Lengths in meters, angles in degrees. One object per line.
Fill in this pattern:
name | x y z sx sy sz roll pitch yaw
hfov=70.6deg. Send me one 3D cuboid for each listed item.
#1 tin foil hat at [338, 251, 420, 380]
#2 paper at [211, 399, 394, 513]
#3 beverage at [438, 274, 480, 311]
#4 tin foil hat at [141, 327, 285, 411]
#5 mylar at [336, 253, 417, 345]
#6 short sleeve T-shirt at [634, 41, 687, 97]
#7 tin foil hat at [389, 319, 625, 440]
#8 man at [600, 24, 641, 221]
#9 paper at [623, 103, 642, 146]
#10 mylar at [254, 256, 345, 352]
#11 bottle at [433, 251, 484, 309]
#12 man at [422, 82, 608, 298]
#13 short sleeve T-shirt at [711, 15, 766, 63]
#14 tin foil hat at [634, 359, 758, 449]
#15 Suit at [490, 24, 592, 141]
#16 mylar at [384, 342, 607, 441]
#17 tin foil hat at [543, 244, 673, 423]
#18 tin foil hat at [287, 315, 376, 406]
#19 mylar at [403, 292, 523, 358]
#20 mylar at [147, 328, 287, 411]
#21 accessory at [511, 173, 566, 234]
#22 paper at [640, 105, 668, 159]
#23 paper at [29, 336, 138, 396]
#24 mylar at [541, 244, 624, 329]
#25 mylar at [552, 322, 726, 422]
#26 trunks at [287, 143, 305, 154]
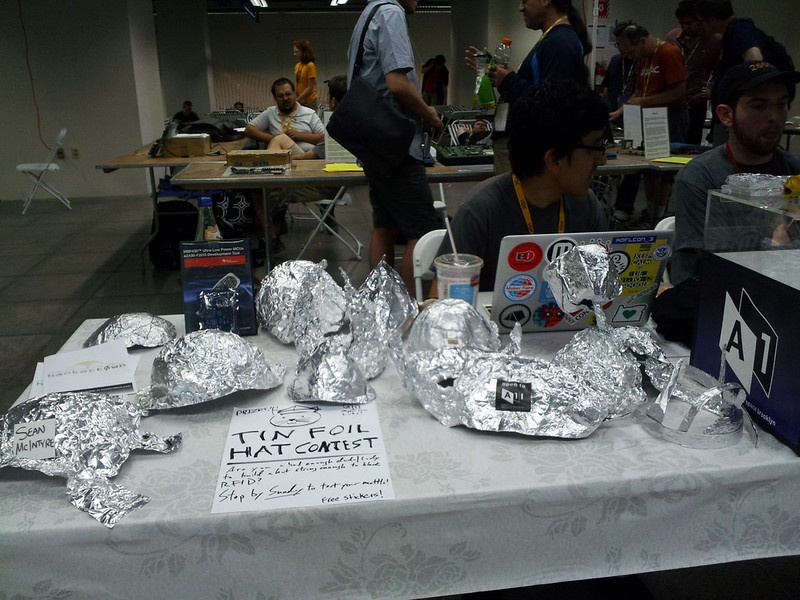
tin foil hat | -0.061 -0.013 1.428 0.155 0.168 0.474 -6 28 17
paper | -0.182 0.277 1.051 0.328 0.011 0.295 3 31 -3
beverage | 0.151 -0.027 1.499 0.086 0.092 0.083 8 15 34
tin foil hat | -0.395 0.140 1.170 0.222 0.087 0.158 -12 13 -38
mylar | -0.051 0.004 1.406 0.167 0.104 0.223 1 55 19
short sleeve T-shirt | 2.301 -2.015 4.952 0.316 0.449 0.567 -12 22 13
tin foil hat | 0.198 0.152 1.105 0.278 0.117 0.197 2 26 4
man | 2.222 -1.985 5.650 0.397 1.398 0.361 19 55 35
paper | 1.716 -1.313 4.176 0.149 0.275 0.028 15 45 36
mylar | -0.281 0.032 1.535 0.223 0.295 0.233 -11 56 -24
bottle | 0.147 -0.046 1.491 0.129 0.131 0.124 -6 22 -20
man | 0.431 -0.527 2.077 0.658 0.764 0.618 8 41 12
short sleeve T-shirt | 2.479 -1.867 4.043 0.255 0.331 0.461 2 18 13
tin foil hat | 0.571 0.220 1.123 0.147 0.115 0.205 -8 26 -4
Suit | 0.852 -1.338 3.489 0.367 0.647 0.653 -2 29 3
mylar | 0.207 0.179 1.103 0.304 0.081 0.184 1 20 14
tin foil hat | 0.446 0.068 1.231 0.269 0.333 0.191 -31 16 -32
tin foil hat | -0.148 0.132 1.206 0.181 0.075 0.234 6 21 -12
mylar | 0.112 0.054 1.301 0.308 0.101 0.311 1 10 29
mylar | -0.391 0.132 1.165 0.217 0.089 0.157 -6 13 -21
accessory | 0.476 -0.348 1.935 0.234 0.227 0.056 -3 15 -12
paper | 1.793 -1.163 3.964 0.036 0.358 0.195 -26 24 -31
paper | -0.697 0.152 1.251 0.141 0.037 0.152 -1 31 1
mylar | 0.418 -0.034 1.270 0.137 0.177 0.182 -20 27 -3
mylar | 0.480 0.159 1.123 0.192 0.123 0.251 -24 21 -7
trunks | -0.964 -1.401 5.256 0.153 0.145 0.153 4 17 4
